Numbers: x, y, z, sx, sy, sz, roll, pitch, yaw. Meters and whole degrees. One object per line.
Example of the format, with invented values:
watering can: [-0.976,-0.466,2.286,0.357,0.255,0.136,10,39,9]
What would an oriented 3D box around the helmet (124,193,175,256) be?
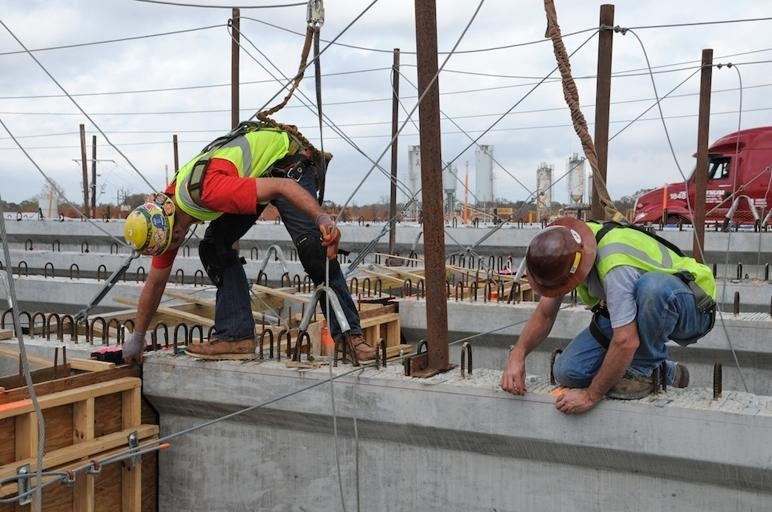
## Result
helmet: [-2.122,-0.282,8.517,0.399,0.477,0.549,11,21,25]

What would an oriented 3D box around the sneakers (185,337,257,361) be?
sneakers: [-1.507,0.858,8.774,0.601,0.281,0.241,3,-2,-1]

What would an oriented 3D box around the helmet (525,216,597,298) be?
helmet: [1.403,0.018,7.843,0.559,0.619,0.293,-1,0,10]

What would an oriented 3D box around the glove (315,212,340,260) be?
glove: [-0.486,-0.164,8.082,0.120,0.354,0.261,-4,11,13]

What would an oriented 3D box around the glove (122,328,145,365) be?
glove: [-2.316,0.830,8.784,0.223,0.315,0.100,7,-2,40]

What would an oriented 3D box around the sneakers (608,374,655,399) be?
sneakers: [1.982,1.076,7.860,0.330,0.165,0.164,3,-1,-6]
